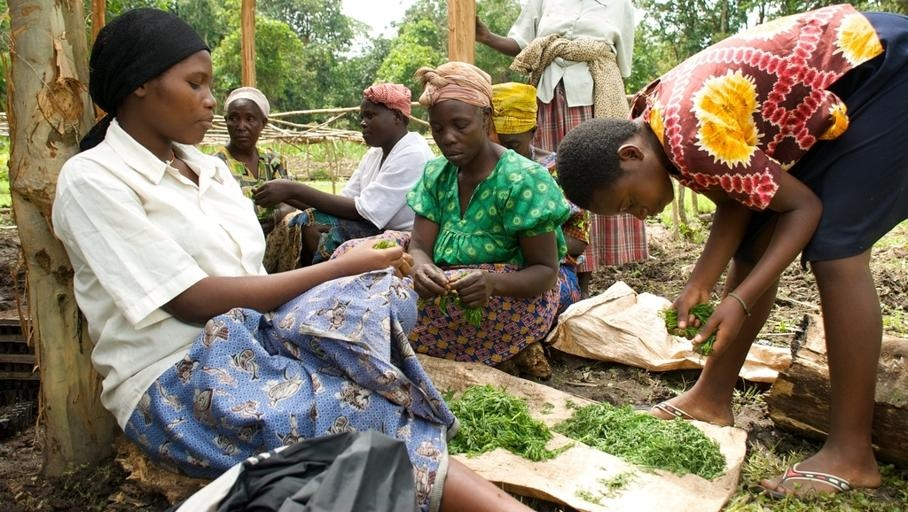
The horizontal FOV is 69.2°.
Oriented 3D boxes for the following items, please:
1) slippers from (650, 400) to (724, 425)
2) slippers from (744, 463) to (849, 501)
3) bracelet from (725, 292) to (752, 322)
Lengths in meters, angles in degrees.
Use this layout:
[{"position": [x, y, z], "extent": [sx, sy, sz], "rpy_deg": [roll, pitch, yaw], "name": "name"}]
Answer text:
[{"position": [1.593, 1.072, 4.484], "extent": [0.485, 0.100, 0.164], "rpy_deg": [12, -8, 4], "name": "slippers"}, {"position": [2.088, 1.353, 3.937], "extent": [0.459, 0.106, 0.198], "rpy_deg": [0, -7, 9], "name": "slippers"}, {"position": [1.683, 0.291, 3.880], "extent": [0.143, 0.038, 0.151], "rpy_deg": [45, 0, 23], "name": "bracelet"}]
